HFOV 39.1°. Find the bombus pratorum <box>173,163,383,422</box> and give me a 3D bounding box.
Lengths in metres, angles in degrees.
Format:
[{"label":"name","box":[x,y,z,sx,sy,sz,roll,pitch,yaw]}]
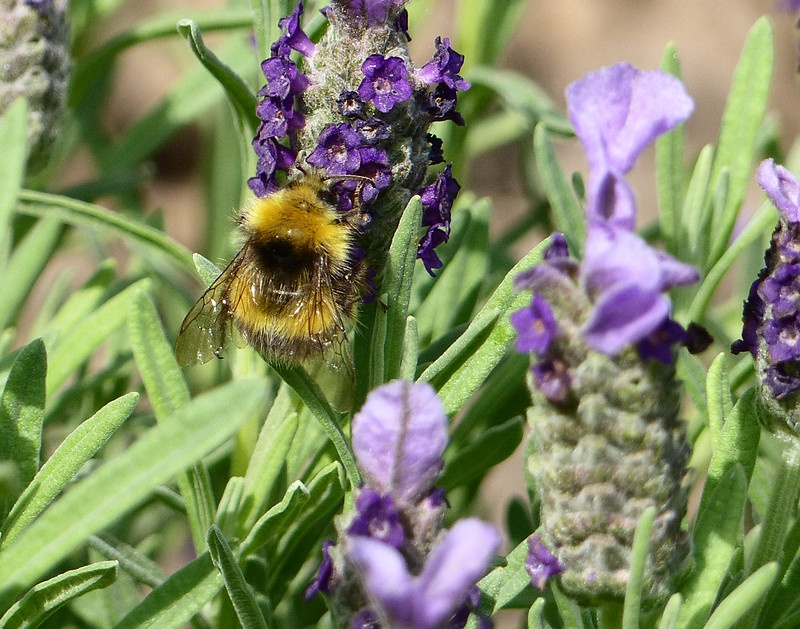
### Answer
[{"label":"bombus pratorum","box":[-0.209,-0.057,2.012,0.289,0.438,0.139,14,-8,21]}]
